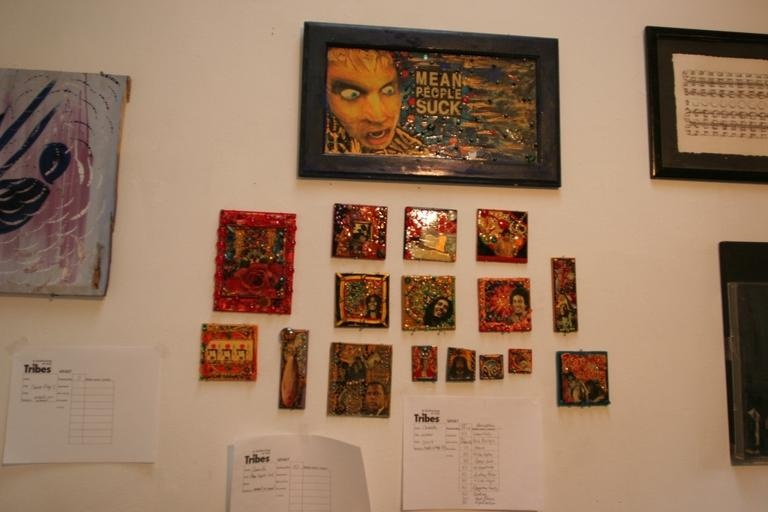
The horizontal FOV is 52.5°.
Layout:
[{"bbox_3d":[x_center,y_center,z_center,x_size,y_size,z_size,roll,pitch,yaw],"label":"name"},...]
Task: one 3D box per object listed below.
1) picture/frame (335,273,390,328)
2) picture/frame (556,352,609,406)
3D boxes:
[{"bbox_3d":[-0.102,0.188,3.237,0.203,0.217,0.028,2,-7,-8],"label":"picture/frame"},{"bbox_3d":[0.818,0.518,3.267,0.202,0.217,0.041,1,-8,-3],"label":"picture/frame"}]
